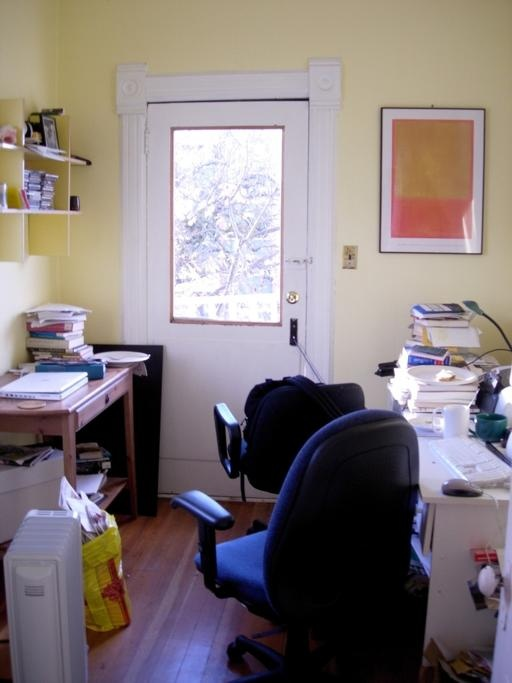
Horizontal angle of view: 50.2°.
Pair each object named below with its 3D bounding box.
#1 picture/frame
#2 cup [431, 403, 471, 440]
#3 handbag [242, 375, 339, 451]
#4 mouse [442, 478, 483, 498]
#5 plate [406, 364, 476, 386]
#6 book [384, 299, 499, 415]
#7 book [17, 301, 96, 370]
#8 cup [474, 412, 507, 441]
[{"bbox_3d":[0.892,-0.837,2.721,0.561,0.975,0.017,0,7,3],"label":"picture/frame"},{"bbox_3d":[0.660,0.268,1.885,0.126,0.151,0.091,-1,5,5],"label":"cup"},{"bbox_3d":[0.137,0.247,2.021,0.285,0.342,0.224,12,12,26],"label":"handbag"},{"bbox_3d":[0.523,0.377,1.392,0.076,0.035,0.051,-3,20,12],"label":"mouse"},{"bbox_3d":[0.731,0.135,2.172,0.255,0.037,0.315,2,6,10],"label":"plate"},{"bbox_3d":[0.746,0.073,2.291,0.333,0.195,0.533,0,21,4],"label":"book"},{"bbox_3d":[-0.951,-0.030,2.619,0.280,0.370,0.265,0,-1,3],"label":"book"},{"bbox_3d":[0.755,0.255,1.754,0.075,0.073,0.083,5,13,31],"label":"cup"}]
